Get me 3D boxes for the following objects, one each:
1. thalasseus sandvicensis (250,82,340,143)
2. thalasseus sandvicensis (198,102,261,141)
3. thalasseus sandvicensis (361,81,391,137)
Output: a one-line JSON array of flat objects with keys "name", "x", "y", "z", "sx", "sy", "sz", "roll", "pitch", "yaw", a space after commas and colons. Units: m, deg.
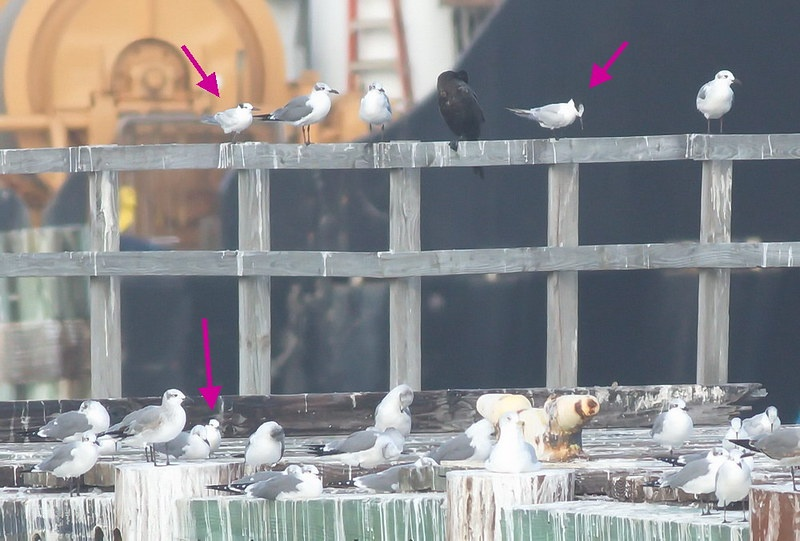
[{"name": "thalasseus sandvicensis", "x": -1.096, "y": -1.677, "z": 26.167, "sx": 0.890, "sy": 0.645, "sz": 0.345, "roll": 4, "pitch": 16, "yaw": 21}, {"name": "thalasseus sandvicensis", "x": -1.756, "y": -1.567, "z": 26.114, "sx": 0.611, "sy": 0.428, "sz": 0.266, "roll": 9, "pitch": 13, "yaw": 24}, {"name": "thalasseus sandvicensis", "x": -0.260, "y": -1.738, "z": 26.076, "sx": 0.347, "sy": 0.629, "sz": 0.625, "roll": 4, "pitch": 16, "yaw": 6}]
